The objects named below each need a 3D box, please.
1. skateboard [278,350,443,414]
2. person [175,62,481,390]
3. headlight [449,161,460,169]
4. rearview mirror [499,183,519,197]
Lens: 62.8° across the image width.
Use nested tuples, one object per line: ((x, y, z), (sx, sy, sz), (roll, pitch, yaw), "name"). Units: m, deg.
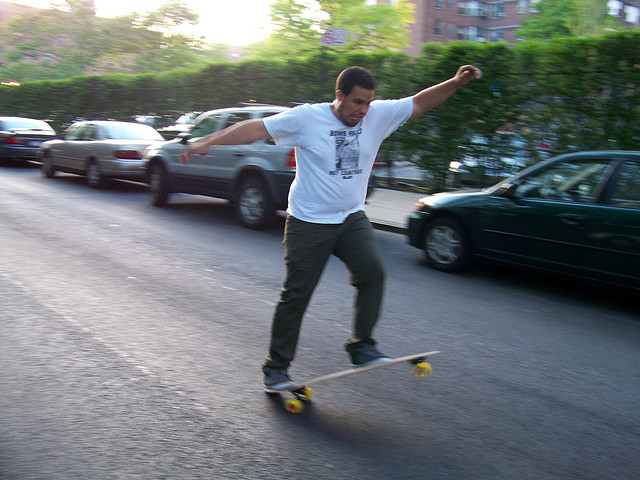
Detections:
((0.313, 0.852, 3.453), (1.373, 0.139, 0.383), (-11, -3, 1), "skateboard")
((0.023, -0.022, 3.502), (1.626, 2.200, 0.636), (0, 18, -10), "person")
((3.416, -1.872, 12.999), (0.097, 0.153, 0.267), (-9, 16, -35), "headlight")
((2.484, -0.650, 6.865), (0.193, 0.179, 0.257), (5, -5, -18), "rearview mirror")
